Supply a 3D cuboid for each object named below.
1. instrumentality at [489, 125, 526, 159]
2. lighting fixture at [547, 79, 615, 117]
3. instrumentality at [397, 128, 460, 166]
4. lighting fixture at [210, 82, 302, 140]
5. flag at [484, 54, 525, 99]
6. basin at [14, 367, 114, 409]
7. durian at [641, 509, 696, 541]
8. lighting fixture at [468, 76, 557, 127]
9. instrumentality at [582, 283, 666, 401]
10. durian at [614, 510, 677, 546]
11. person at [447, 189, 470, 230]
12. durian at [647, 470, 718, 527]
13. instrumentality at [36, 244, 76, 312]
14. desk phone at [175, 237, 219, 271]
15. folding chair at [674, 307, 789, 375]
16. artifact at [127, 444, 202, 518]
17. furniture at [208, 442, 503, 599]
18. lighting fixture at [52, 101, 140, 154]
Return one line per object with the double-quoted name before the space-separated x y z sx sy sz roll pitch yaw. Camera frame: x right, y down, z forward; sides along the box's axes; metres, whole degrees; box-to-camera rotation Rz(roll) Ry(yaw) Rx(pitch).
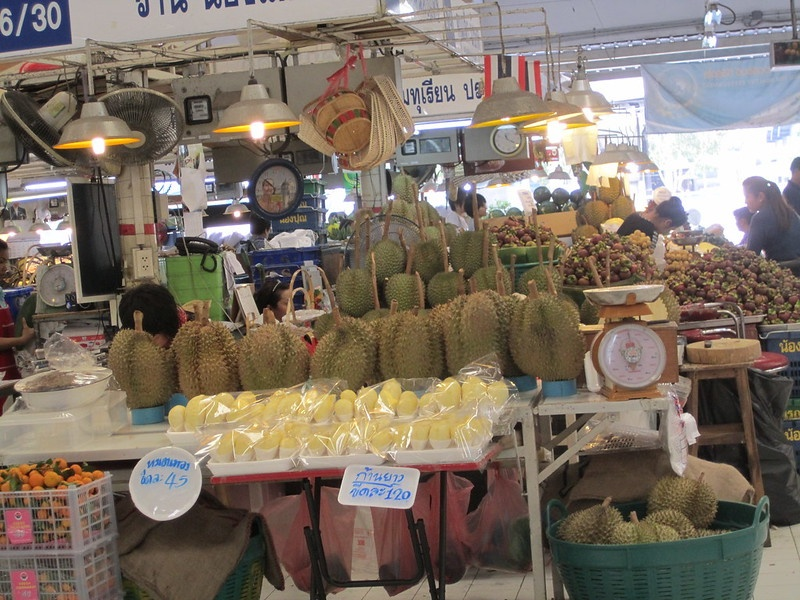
"instrumentality" 1.456 -2.162 9.184 0.461 0.418 0.238 -3 7 16
"lighting fixture" 1.406 -1.546 5.220 0.446 0.265 0.465 0 -3 3
"instrumentality" 0.385 -2.049 9.562 0.894 0.542 0.704 -4 -7 11
"lighting fixture" -0.834 -1.086 3.876 0.486 0.333 0.492 2 13 39
"flag" 0.971 -2.079 6.155 0.407 0.449 0.008 -1 -24 -7
"basin" -1.526 0.400 3.081 0.397 0.162 0.245 -9 8 -29
"durian" 1.119 0.929 2.777 0.119 0.135 0.128 -4 7 -5
"lighting fixture" 0.639 -1.109 3.971 0.366 0.205 0.381 -2 -1 12
"instrumentality" 0.945 0.165 2.827 0.337 0.461 0.322 -9 8 -26
"durian" 0.973 0.873 2.723 0.160 0.112 0.169 -1 4 -12
"person" 0.748 -1.128 8.759 0.277 0.615 0.564 -2 -10 13
"durian" 1.239 0.857 3.016 0.226 0.233 0.244 1 5 -12
"instrumentality" -3.087 -0.188 6.170 0.416 0.624 0.296 -2 -11 -8
"desk phone" -1.717 -0.398 5.772 0.309 0.285 0.311 -6 -5 26
"folding chair" 1.937 0.183 4.036 0.445 0.247 0.734 -2 6 6
"artifact" -0.884 0.703 2.573 0.281 0.263 0.152 -7 7 -18
"furniture" -0.093 1.003 2.816 1.059 0.903 0.733 -3 7 10
"lighting fixture" -1.747 -0.983 3.861 0.443 0.297 0.467 2 15 31
